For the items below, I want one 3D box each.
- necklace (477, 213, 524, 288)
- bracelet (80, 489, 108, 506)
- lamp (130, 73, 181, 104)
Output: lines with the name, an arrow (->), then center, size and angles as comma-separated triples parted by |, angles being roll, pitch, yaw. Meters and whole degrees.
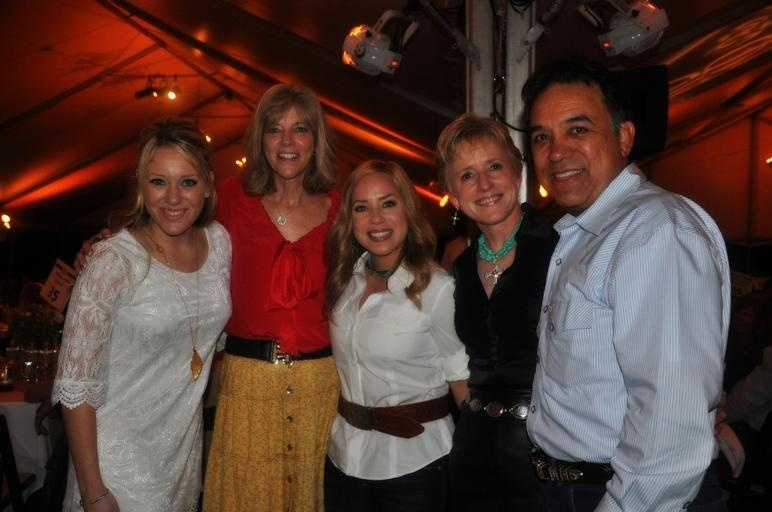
necklace -> 0.738, -0.043, 4.116 | 0.156, 0.416, 0.329 | 21, -24, -37
bracelet -> -1.734, 1.451, 3.806 | 0.116, 0.029, 0.091 | -24, 1, -7
lamp -> -3.379, -2.499, 9.501 | 0.837, 0.460, 0.272 | -1, 26, 0
